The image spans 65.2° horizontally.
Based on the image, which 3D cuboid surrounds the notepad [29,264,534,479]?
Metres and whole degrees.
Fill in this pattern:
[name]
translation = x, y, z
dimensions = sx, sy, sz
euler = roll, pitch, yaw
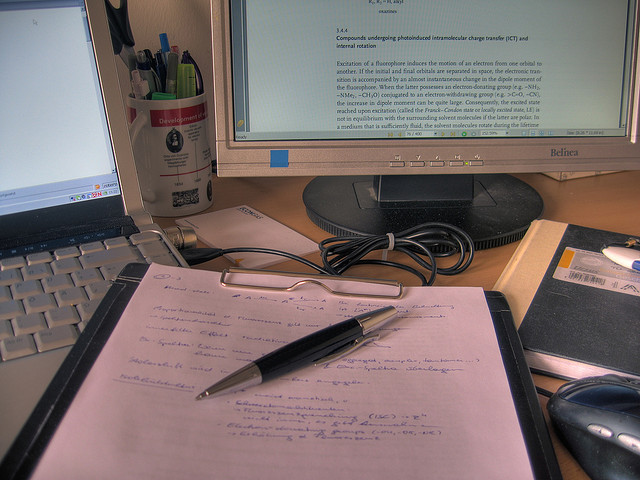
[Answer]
[notepad]
translation = -0.018, 0.108, 0.451
dimensions = 0.369, 0.045, 0.231
euler = 3, 28, 2
